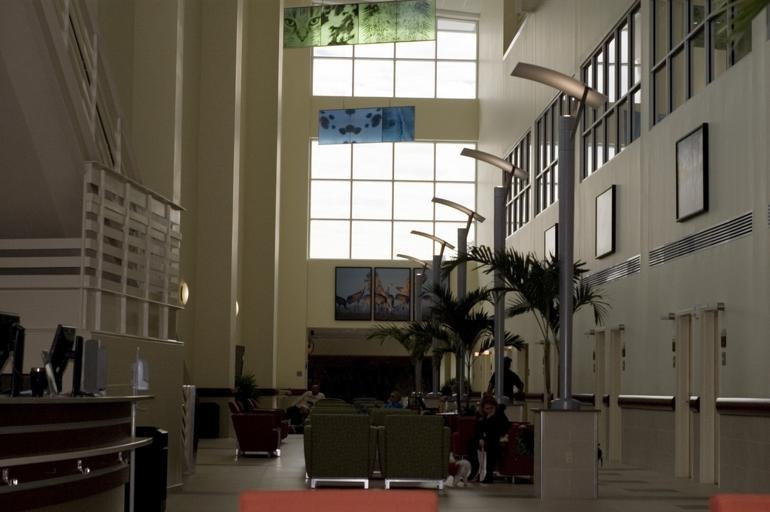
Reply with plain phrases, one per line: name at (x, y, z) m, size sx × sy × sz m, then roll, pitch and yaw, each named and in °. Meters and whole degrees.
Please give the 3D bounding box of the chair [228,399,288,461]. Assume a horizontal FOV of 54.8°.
chair at (-2.880, 3.945, 16.867) m, size 1.073 × 1.334 × 1.531 m, roll 1°, pitch -5°, yaw -3°

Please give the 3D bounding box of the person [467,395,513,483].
person at (1.796, 3.120, 12.678) m, size 0.703 × 1.429 × 0.452 m, roll -1°, pitch -13°, yaw 5°

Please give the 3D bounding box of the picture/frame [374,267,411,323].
picture/frame at (0.324, 1.835, 33.613) m, size 2.063 × 3.360 × 0.109 m, roll 1°, pitch -7°, yaw -7°

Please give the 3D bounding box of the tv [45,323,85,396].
tv at (-3.354, 1.094, 7.821) m, size 0.371 × 0.729 × 0.691 m, roll 6°, pitch -15°, yaw -22°

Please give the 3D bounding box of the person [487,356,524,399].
person at (2.989, 3.176, 18.131) m, size 0.839 × 1.524 × 0.471 m, roll 3°, pitch 17°, yaw 12°

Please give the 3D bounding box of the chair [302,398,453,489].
chair at (-0.091, 3.266, 12.494) m, size 2.282 × 1.177 × 1.742 m, roll 0°, pitch -14°, yaw 4°
